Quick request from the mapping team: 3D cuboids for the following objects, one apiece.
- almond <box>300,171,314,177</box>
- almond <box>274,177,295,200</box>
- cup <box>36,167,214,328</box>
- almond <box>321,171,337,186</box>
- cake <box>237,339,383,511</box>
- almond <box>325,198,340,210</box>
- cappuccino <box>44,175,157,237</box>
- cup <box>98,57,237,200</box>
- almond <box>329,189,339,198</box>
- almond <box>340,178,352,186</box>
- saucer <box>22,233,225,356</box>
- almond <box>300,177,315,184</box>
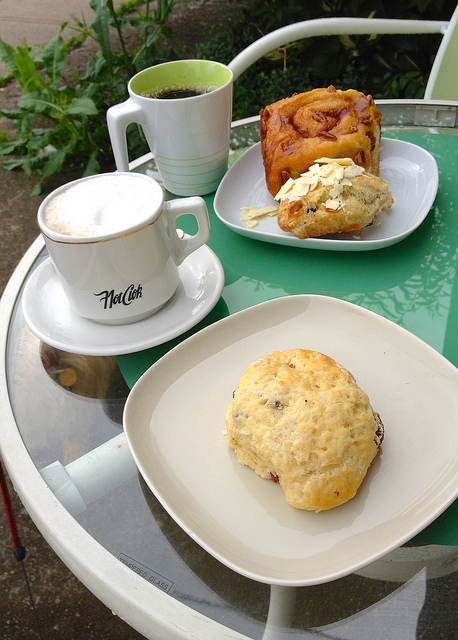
[{"bbox_3d":[0.103,-0.200,0.764,0.011,0.003,0.011,-6,36,34],"label":"almond"},{"bbox_3d":[0.077,-0.182,0.771,0.016,0.011,0.041,31,64,-1],"label":"almond"},{"bbox_3d":[-0.108,-0.079,0.641,0.209,0.143,0.147,-16,41,-8],"label":"cup"},{"bbox_3d":[0.134,-0.188,0.742,0.020,0.005,0.013,-45,39,5],"label":"almond"},{"bbox_3d":[0.067,0.080,0.488,0.133,0.050,0.169,-15,42,-6],"label":"cake"},{"bbox_3d":[0.132,-0.149,0.712,0.020,0.006,0.013,30,55,35],"label":"almond"},{"bbox_3d":[-0.122,-0.130,0.581,0.121,0.062,0.130,-7,18,-15],"label":"cappuccino"},{"bbox_3d":[-0.096,-0.279,0.847,0.215,0.151,0.135,-27,52,-17],"label":"cup"},{"bbox_3d":[0.135,-0.165,0.721,0.011,0.007,0.010,13,47,23],"label":"almond"},{"bbox_3d":[0.152,-0.181,0.729,0.012,0.004,0.017,-24,44,-16],"label":"almond"},{"bbox_3d":[-0.120,-0.028,0.641,0.232,0.036,0.193,-13,42,-3],"label":"saucer"},{"bbox_3d":[0.106,-0.189,0.754,0.012,0.003,0.011,-5,45,5],"label":"almond"}]
